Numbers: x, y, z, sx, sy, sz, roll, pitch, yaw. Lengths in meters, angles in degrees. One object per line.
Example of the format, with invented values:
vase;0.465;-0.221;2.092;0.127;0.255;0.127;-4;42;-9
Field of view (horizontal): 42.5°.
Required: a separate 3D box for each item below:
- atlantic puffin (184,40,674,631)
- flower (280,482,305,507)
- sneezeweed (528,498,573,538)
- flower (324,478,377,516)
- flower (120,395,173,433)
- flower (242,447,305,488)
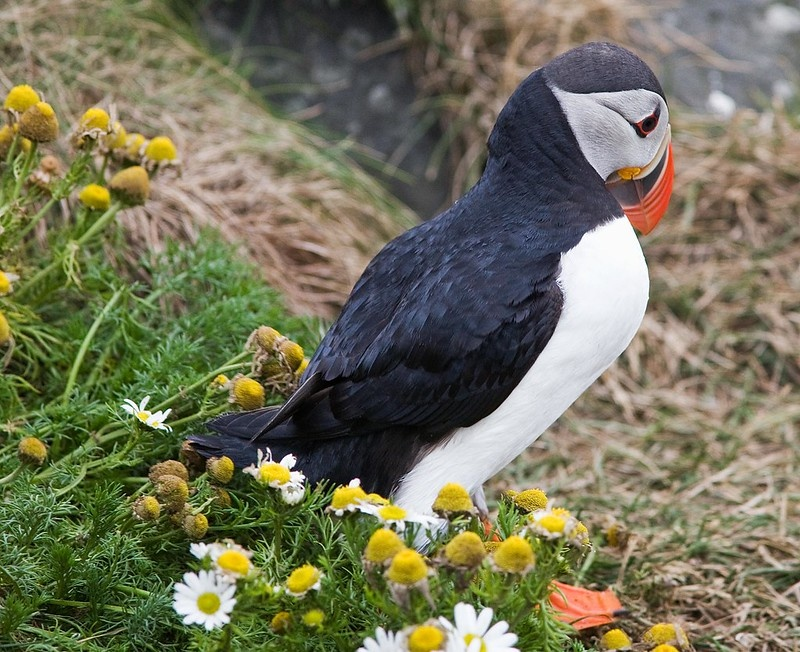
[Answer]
atlantic puffin;0.127;-0.102;3.675;1.739;1.687;0.976;4;16;8
flower;-0.291;0.458;2.824;0.057;0.051;0.066;2;3;28
sneezeweed;0.394;0.502;2.691;0.078;0.021;0.081;23;37;35
flower;-0.133;0.454;2.723;0.032;0.098;0.096;62;-3;-4
flower;-0.760;0.277;3.174;0.163;0.064;0.164;34;-1;14
flower;-0.350;0.410;2.838;0.169;0.061;0.146;9;22;-1
